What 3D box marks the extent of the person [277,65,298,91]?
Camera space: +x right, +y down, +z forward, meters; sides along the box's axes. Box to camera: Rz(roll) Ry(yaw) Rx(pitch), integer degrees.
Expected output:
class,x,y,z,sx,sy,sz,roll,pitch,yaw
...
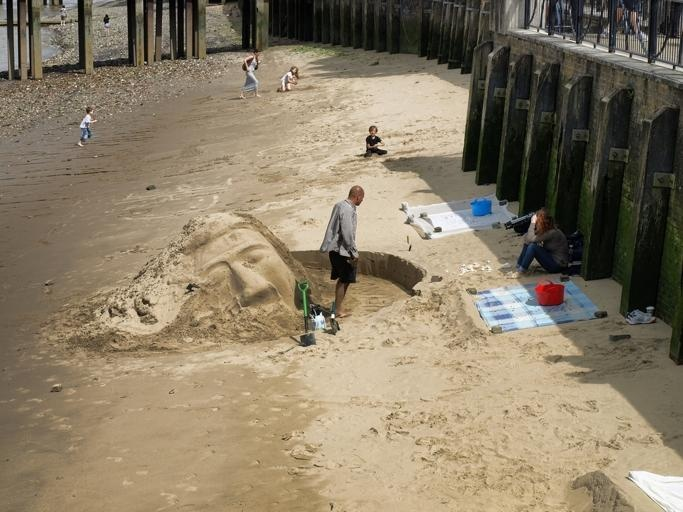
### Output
class,x,y,z,sx,sy,sz,roll,pitch,yaw
person,-1.787,-5.784,24.304,0.574,0.686,1.522,0,19,3

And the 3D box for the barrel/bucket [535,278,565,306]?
class,x,y,z,sx,sy,sz,roll,pitch,yaw
barrel/bucket,2.933,0.534,10.379,0.401,0.234,0.330,-6,3,-37

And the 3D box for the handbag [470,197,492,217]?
class,x,y,z,sx,sy,sz,roll,pitch,yaw
handbag,2.560,-0.886,13.484,0.391,0.298,0.321,-1,16,-2

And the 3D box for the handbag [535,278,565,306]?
class,x,y,z,sx,sy,sz,roll,pitch,yaw
handbag,2.970,0.526,10.392,0.331,0.223,0.394,-4,1,45

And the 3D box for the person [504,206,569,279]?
class,x,y,z,sx,sy,sz,roll,pitch,yaw
person,3.088,-0.141,11.143,1.225,1.214,0.678,1,11,6

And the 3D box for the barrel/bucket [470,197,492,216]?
class,x,y,z,sx,sy,sz,roll,pitch,yaw
barrel/bucket,2.591,-0.889,13.570,0.432,0.308,0.267,-4,21,-8

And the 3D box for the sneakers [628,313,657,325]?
class,x,y,z,sx,sy,sz,roll,pitch,yaw
sneakers,3.972,0.836,9.730,0.271,0.099,0.105,-4,20,6

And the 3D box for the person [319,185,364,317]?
class,x,y,z,sx,sy,sz,roll,pitch,yaw
person,-0.004,-0.034,10.859,0.538,1.885,0.730,4,22,14

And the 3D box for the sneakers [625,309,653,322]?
class,x,y,z,sx,sy,sz,roll,pitch,yaw
sneakers,3.946,0.790,9.748,0.341,0.130,0.144,-1,23,7

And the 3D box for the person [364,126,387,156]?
class,x,y,z,sx,sy,sz,roll,pitch,yaw
person,0.793,-2.602,16.941,0.502,0.652,0.350,-1,21,1
